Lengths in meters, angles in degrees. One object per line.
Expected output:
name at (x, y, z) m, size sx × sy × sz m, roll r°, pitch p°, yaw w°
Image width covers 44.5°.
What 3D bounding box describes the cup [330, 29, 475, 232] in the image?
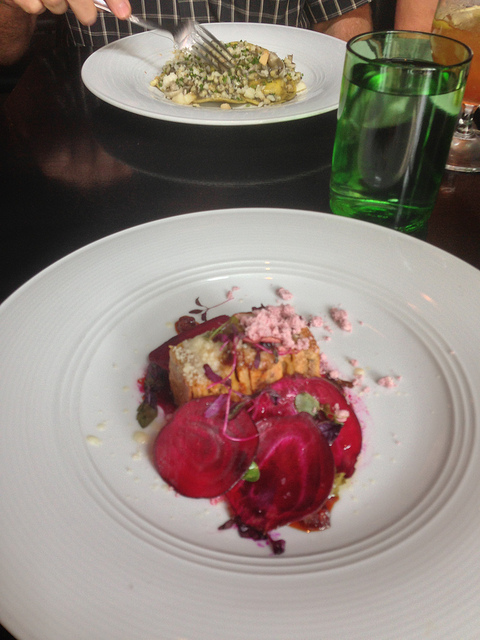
cup at (0.284, -0.351, 1.072) m, size 0.213 × 0.322 × 0.270 m, roll 13°, pitch 48°, yaw 15°
